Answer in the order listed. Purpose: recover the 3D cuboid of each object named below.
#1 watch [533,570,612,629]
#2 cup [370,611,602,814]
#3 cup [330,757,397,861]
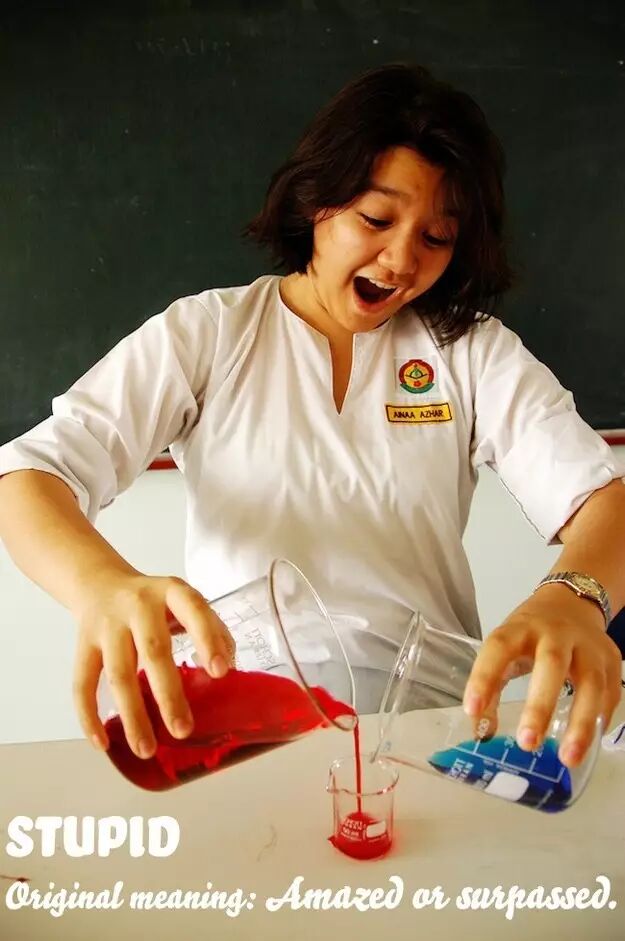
[{"bbox_3d":[0.265,0.134,0.834,0.045,0.045,0.030,38,63,19],"label":"watch"},{"bbox_3d":[0.151,0.205,0.713,0.184,0.157,0.109,3,15,12],"label":"cup"},{"bbox_3d":[0.057,0.333,0.829,0.076,0.075,0.070,-1,7,0],"label":"cup"}]
